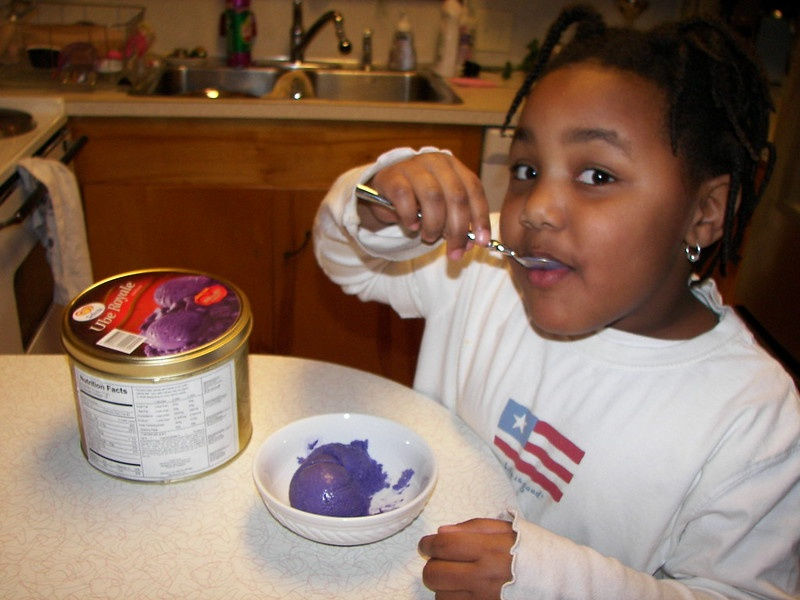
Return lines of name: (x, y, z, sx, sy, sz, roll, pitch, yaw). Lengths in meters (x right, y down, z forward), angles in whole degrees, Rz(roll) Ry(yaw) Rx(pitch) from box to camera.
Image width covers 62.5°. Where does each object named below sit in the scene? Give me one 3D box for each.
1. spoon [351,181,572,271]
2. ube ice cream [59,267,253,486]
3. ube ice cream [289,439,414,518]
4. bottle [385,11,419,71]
spoon: (0.091, -0.112, 0.993, 0.238, 0.056, 0.035, 31, 55, 3)
ube ice cream: (-0.300, 0.125, 0.936, 0.237, 0.199, 0.249, 28, 38, 35)
ube ice cream: (-0.071, 0.231, 0.846, 0.092, 0.055, 0.113, -23, 24, -36)
bottle: (0.010, -0.986, 2.531, 0.124, 0.224, 0.124, 2, 7, 0)
